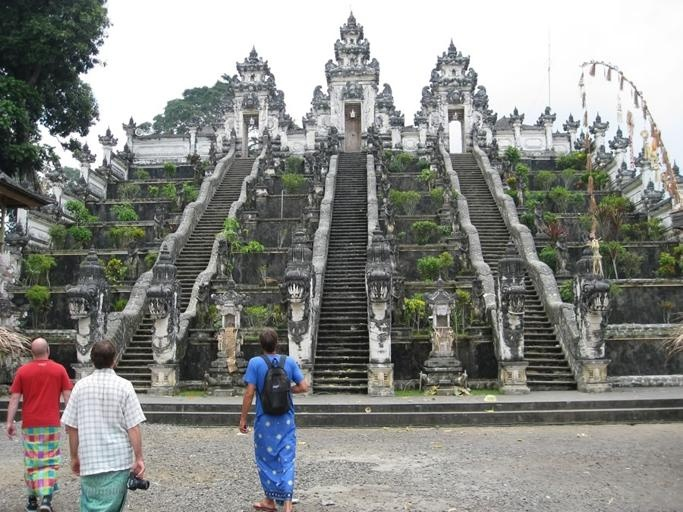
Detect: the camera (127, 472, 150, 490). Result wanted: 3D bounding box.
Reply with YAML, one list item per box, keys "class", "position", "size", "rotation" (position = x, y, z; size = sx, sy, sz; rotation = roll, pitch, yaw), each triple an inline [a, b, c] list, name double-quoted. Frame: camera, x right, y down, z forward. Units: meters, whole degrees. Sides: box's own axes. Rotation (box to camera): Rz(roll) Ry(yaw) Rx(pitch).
- class: "camera"
  position: [-2.938, 3.319, 14.063]
  size: [0.264, 0.261, 0.260]
  rotation: [1, -37, -2]
